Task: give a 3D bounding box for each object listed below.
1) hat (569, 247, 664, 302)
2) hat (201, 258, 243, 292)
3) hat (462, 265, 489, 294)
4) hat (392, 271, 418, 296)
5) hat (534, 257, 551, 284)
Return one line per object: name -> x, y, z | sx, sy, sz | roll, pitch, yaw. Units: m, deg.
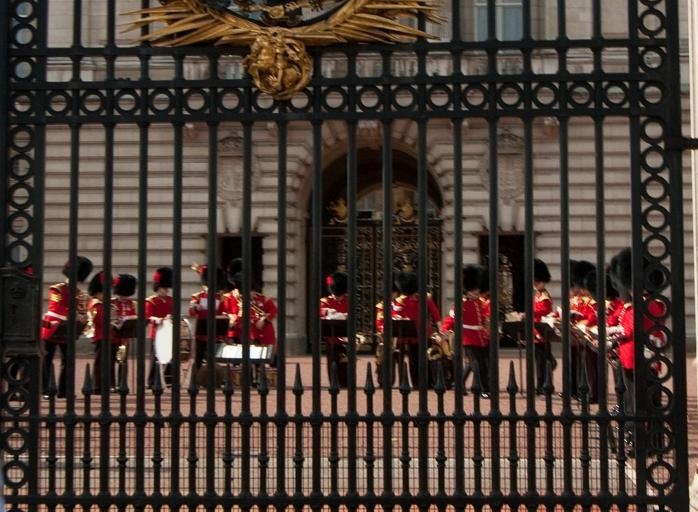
hat -> 3.114, 0.176, 23.889 | 0.353, 0.384, 0.931 | -2, -6, -13
hat -> -1.677, 0.292, 29.884 | 0.839, 0.322, 0.553 | -3, -19, 16
hat -> 1.715, 0.280, 28.715 | 0.369, 0.421, 0.437 | 1, -49, 4
hat -> 0.768, 0.386, 29.381 | 0.277, 0.335, 0.293 | -12, -78, 6
hat -> 2.628, 0.195, 28.828 | 0.191, 0.500, 0.337 | -2, -37, 6
